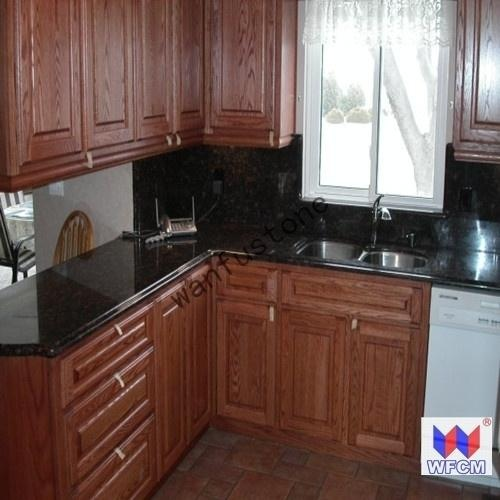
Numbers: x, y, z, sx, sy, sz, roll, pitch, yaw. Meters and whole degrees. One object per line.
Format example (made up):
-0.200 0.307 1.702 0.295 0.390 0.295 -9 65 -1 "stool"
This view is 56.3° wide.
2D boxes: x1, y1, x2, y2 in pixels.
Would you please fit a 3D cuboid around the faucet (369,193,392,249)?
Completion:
0.743 -0.169 2.658 0.120 0.301 0.407 3 10 16 "faucet"

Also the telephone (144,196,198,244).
-0.462 -0.201 2.784 0.192 0.277 0.341 -4 0 43 "telephone"

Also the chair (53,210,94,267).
-1.028 -0.074 2.790 0.297 0.318 0.128 4 9 22 "chair"
